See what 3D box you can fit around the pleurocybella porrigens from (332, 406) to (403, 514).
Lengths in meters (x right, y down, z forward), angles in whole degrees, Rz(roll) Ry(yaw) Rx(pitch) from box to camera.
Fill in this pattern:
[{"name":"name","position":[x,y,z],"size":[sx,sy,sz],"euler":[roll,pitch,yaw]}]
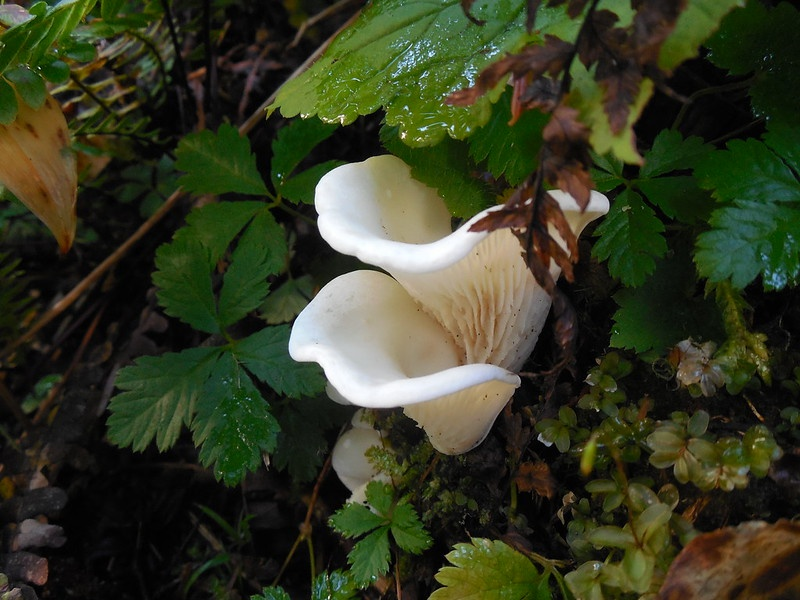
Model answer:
[{"name":"pleurocybella porrigens","position":[-0.218,0.782,3.644],"size":[0.376,0.160,0.378],"euler":[-33,62,24]}]

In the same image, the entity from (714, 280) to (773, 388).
[{"name":"entity","position":[1.444,0.145,3.138],"size":[0.163,0.082,0.492],"euler":[-24,58,19]}]

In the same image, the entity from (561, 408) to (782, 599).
[{"name":"entity","position":[1.034,0.810,2.937],"size":[0.746,0.279,0.813],"euler":[-9,59,31]}]
